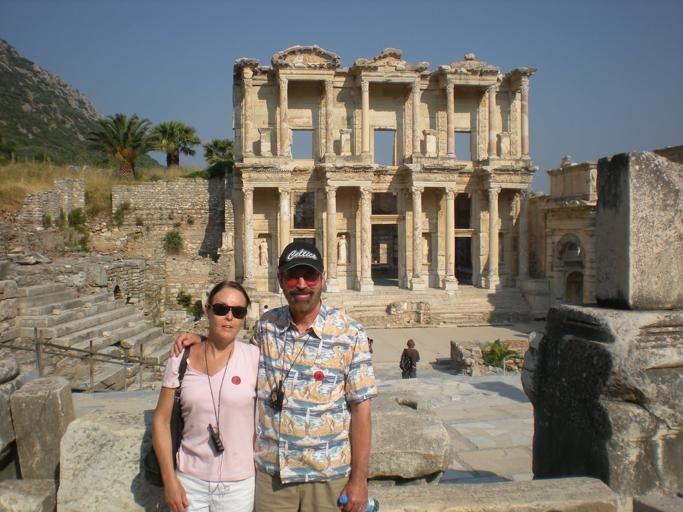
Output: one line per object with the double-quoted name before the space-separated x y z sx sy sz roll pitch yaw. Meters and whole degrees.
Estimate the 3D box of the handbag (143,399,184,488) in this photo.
"handbag" -1.571 1.652 5.937 0.422 0.704 0.186 4 1 -28

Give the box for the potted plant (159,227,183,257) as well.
"potted plant" -7.673 -0.626 30.271 1.017 0.768 1.084 -5 3 -10
